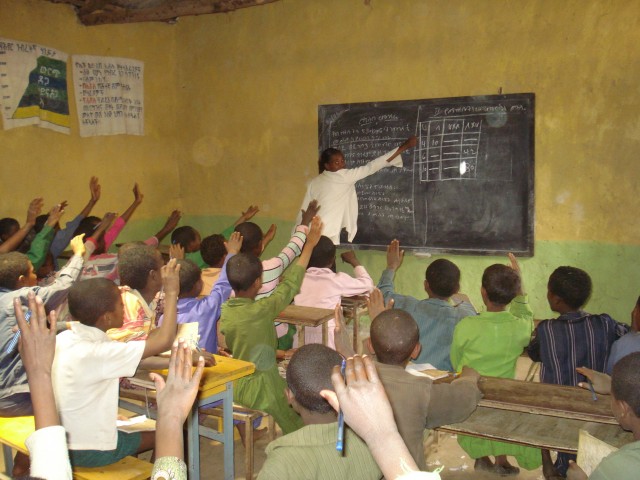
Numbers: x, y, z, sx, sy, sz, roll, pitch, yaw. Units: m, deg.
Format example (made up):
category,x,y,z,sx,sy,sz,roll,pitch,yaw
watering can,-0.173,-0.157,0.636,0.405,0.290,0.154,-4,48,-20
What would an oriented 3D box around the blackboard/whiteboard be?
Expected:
category,x,y,z,sx,sy,sz,roll,pitch,yaw
blackboard/whiteboard,0.987,-0.573,5.523,1.399,0.979,0.062,3,8,28
